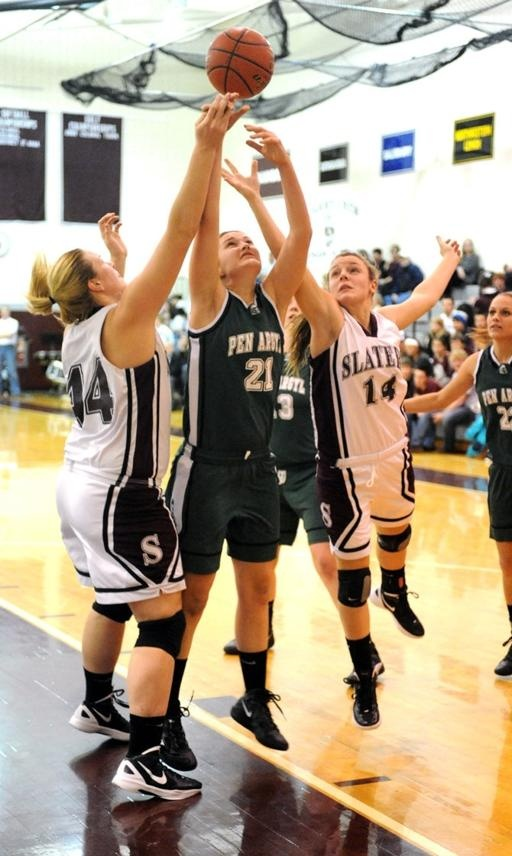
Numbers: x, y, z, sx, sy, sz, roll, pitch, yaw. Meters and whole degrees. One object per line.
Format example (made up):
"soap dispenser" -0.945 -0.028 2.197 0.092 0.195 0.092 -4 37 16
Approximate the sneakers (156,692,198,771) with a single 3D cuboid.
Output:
"sneakers" -0.220 0.913 2.062 0.066 0.138 0.197 7 -8 -30

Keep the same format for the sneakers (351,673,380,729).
"sneakers" 0.359 0.904 2.324 0.065 0.082 0.194 -3 10 3

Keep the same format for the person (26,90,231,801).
"person" -0.331 0.060 1.890 0.322 1.796 0.559 1 1 -35
